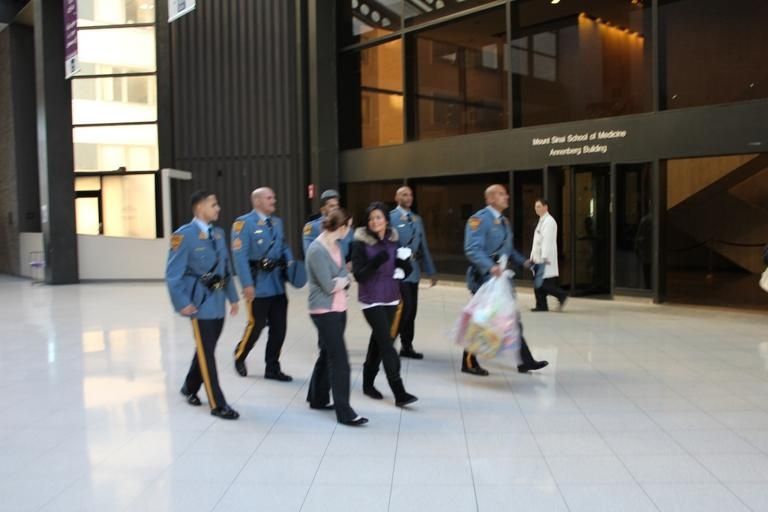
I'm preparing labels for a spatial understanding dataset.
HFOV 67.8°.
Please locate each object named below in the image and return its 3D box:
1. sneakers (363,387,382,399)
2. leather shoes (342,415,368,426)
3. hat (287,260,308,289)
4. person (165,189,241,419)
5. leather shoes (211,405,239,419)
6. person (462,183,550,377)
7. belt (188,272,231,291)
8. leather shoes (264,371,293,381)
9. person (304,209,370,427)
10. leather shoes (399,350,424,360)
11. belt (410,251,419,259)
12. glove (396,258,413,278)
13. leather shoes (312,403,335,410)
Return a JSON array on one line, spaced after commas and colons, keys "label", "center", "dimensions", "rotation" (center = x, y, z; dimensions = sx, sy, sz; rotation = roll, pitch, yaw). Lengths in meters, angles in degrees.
[{"label": "sneakers", "center": [-0.133, 1.521, 6.356], "dimensions": [0.235, 0.168, 0.087], "rotation": [3, 3, 23]}, {"label": "leather shoes", "center": [-0.294, 1.639, 5.686], "dimensions": [0.208, 0.076, 0.114], "rotation": [-3, -4, -3]}, {"label": "hat", "center": [-1.046, 0.208, 6.753], "dimensions": [0.310, 0.304, 0.071], "rotation": [-8, 11, -33]}, {"label": "person", "center": [-1.884, 0.487, 5.957], "dimensions": [0.658, 2.302, 0.598], "rotation": [-3, 8, -9]}, {"label": "leather shoes", "center": [-1.643, 1.604, 5.913], "dimensions": [0.251, 0.102, 0.126], "rotation": [0, -2, 10]}, {"label": "person", "center": [1.399, 0.298, 6.944], "dimensions": [0.909, 2.294, 0.802], "rotation": [0, 8, 8]}, {"label": "belt", "center": [-1.793, 0.248, 5.903], "dimensions": [0.255, 0.106, 0.208], "rotation": [7, -1, 31]}, {"label": "leather shoes", "center": [-1.290, 1.467, 6.954], "dimensions": [0.354, 0.143, 0.121], "rotation": [0, -4, 4]}, {"label": "person", "center": [-0.516, 0.591, 5.780], "dimensions": [0.493, 2.130, 0.707], "rotation": [-4, 9, -22]}, {"label": "leather shoes", "center": [0.365, 1.334, 7.757], "dimensions": [0.336, 0.145, 0.115], "rotation": [0, -3, -3]}, {"label": "belt", "center": [0.400, -0.017, 7.560], "dimensions": [0.076, 0.106, 0.106], "rotation": [1, -1, -11]}, {"label": "glove", "center": [0.219, 0.131, 6.052], "dimensions": [0.159, 0.209, 0.064], "rotation": [4, -5, 23]}, {"label": "leather shoes", "center": [-0.653, 1.592, 6.067], "dimensions": [0.168, 0.052, 0.172], "rotation": [-1, -1, 11]}]
